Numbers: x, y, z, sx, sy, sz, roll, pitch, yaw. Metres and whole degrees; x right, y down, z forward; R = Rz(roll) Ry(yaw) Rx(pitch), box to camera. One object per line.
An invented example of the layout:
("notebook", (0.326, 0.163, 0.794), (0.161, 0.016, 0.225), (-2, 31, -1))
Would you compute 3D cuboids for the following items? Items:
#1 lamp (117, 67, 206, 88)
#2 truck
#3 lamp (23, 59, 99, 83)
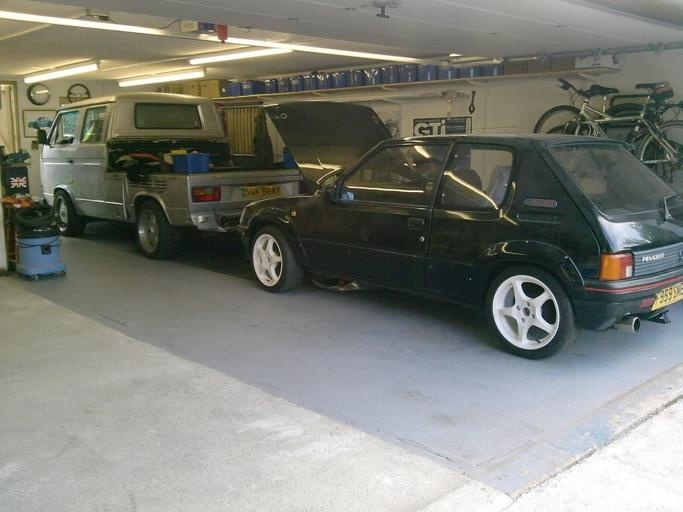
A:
("lamp", (-4.991, -5.001, 13.255), (4.369, 0.314, 0.646), (13, 19, 43))
("truck", (-2.872, -1.525, 8.176), (4.894, 2.205, 2.629), (13, 16, 33))
("lamp", (-7.321, -4.926, 12.671), (4.589, 0.202, 0.305), (11, 18, 39))
